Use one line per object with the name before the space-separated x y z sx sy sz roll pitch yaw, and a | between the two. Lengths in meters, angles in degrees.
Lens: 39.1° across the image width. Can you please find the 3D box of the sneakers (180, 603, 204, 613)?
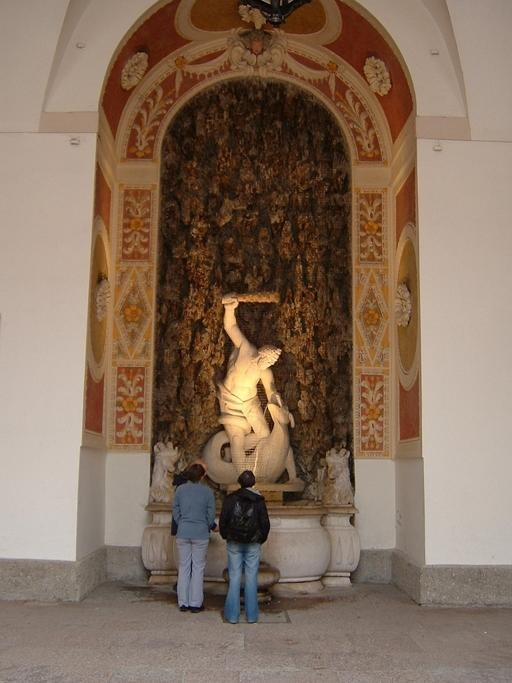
sneakers | -0.488 2.031 5.484 0.174 0.085 0.066 4 -4 -43

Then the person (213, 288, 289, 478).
person | 0.006 0.507 7.563 0.768 2.185 0.550 1 18 0

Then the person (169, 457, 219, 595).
person | -0.478 1.495 5.508 0.334 1.109 0.311 1 -8 -2

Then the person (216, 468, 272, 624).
person | -0.095 1.469 5.161 0.343 1.068 0.431 1 -8 -4

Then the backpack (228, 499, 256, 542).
backpack | -0.086 1.247 5.058 0.206 0.326 0.177 1 19 -1
